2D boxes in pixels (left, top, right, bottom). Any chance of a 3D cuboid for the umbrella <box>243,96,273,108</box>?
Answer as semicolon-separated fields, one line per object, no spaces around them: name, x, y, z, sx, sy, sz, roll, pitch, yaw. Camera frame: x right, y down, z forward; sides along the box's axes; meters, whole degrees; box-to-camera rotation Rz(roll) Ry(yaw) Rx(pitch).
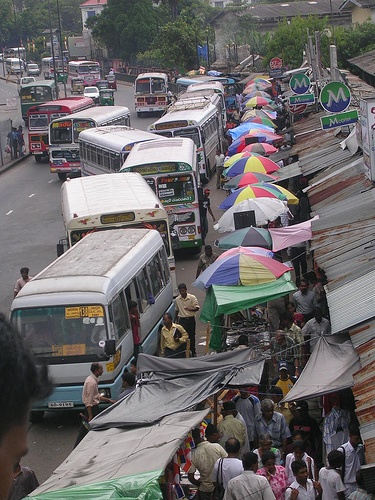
umbrella;4.034;-8.607;37.246;1.440;0.601;2.079;-3;13;6

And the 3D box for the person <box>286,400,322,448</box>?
person;1.546;2.385;8.572;0.449;0.699;0.230;-1;2;17

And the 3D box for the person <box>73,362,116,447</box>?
person;-1.479;2.278;9.986;0.635;1.046;1.764;-8;14;-9

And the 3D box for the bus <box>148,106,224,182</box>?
bus;0.075;-5.617;30.499;2.103;2.101;5.693;1;16;10

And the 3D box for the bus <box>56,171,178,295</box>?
bus;-1.843;-0.780;16.619;2.184;1.618;4.184;-5;15;-3

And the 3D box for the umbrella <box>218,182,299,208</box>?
umbrella;2.027;-1.531;17.511;1.664;0.494;1.516;-6;5;0

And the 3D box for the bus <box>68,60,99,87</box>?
bus;-12.780;-23.314;84.169;3.607;3.074;11.150;-5;13;-14

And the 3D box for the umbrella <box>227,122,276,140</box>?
umbrella;2.624;-5.166;27.268;1.467;0.469;1.421;-4;9;-20

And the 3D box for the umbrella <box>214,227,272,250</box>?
umbrella;1.253;-0.232;14.059;1.264;0.429;0.848;0;14;19

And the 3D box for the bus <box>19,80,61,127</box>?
bus;-12.076;-12.111;50.392;2.664;2.665;4.605;-4;28;-21

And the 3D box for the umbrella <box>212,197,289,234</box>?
umbrella;1.562;-0.855;15.750;1.758;0.767;1.222;-4;13;3

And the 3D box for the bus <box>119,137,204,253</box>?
bus;-0.743;-2.043;19.903;1.915;1.864;4.466;-2;14;8

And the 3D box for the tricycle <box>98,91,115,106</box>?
tricycle;-7.783;-14.683;61.551;1.252;1.411;1.084;-8;15;-9

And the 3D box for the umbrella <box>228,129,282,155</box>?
umbrella;2.600;-4.270;24.709;1.593;0.567;1.485;-19;12;-18

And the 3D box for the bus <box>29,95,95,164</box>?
bus;-6.906;-6.556;35.149;3.070;2.846;6.807;3;16;10

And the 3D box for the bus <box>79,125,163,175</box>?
bus;-2.812;-3.938;25.528;1.360;1.187;3.502;-32;32;-29

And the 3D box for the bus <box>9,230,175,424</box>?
bus;-1.367;1.165;10.270;1.609;1.543;3.488;-2;17;13
